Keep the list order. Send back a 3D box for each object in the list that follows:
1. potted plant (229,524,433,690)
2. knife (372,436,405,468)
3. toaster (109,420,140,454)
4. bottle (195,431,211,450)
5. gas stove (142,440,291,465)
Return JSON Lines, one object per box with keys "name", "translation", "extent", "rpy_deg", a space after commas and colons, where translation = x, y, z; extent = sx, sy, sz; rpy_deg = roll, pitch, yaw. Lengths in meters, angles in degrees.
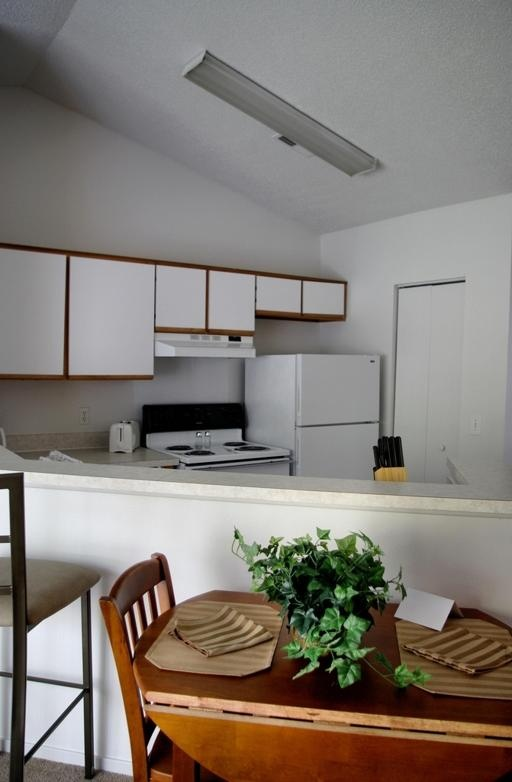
{"name": "potted plant", "translation": [0.146, 0.361, 1.041], "extent": [0.284, 0.185, 0.334], "rpy_deg": [-3, -13, 12]}
{"name": "knife", "translation": [0.589, 0.274, 2.644], "extent": [0.146, 0.213, 0.120], "rpy_deg": [0, 0, 4]}
{"name": "toaster", "translation": [-0.829, 0.281, 3.611], "extent": [0.115, 0.157, 0.221], "rpy_deg": [0, -1, 0]}
{"name": "bottle", "translation": [-0.378, 0.341, 3.986], "extent": [0.103, 0.123, 0.042], "rpy_deg": [-2, 3, -44]}
{"name": "gas stove", "translation": [-0.260, 0.408, 3.785], "extent": [0.866, 0.078, 0.531], "rpy_deg": [0, 3, -30]}
